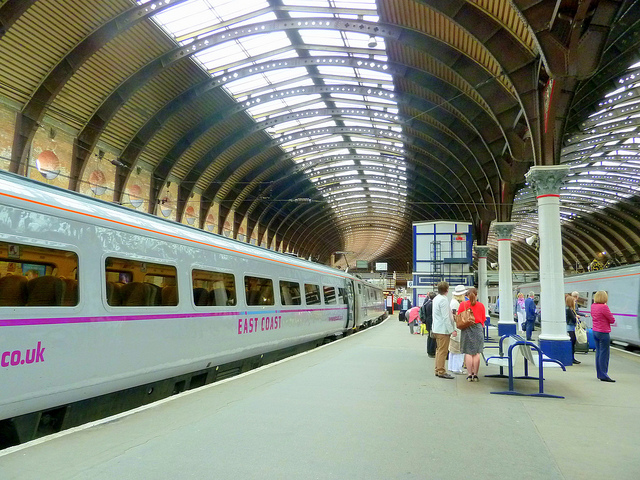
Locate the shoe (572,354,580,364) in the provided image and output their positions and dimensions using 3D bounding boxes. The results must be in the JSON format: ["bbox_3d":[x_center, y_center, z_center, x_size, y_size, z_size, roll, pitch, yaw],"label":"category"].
[{"bbox_3d":[8.198,3.764,12.797,0.156,0.140,0.333,-3,-7,36],"label":"shoe"}]

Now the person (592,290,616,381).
[{"bbox_3d":[7.030,2.304,9.905,0.429,2.156,0.870,-2,-7,34],"label":"person"}]

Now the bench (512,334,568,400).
[{"bbox_3d":[5.167,2.805,9.657,1.085,1.022,2.828,-1,-7,23],"label":"bench"}]

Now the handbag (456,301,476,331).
[{"bbox_3d":[3.340,1.680,9.086,0.300,0.600,0.659,4,-10,-30],"label":"handbag"}]

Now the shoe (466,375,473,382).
[{"bbox_3d":[3.501,3.157,9.342,0.080,0.099,0.102,-1,-5,4],"label":"shoe"}]

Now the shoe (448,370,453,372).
[{"bbox_3d":[3.333,3.242,10.181,0.158,0.032,0.141,1,-8,1],"label":"shoe"}]

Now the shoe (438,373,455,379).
[{"bbox_3d":[3.044,3.184,9.626,0.348,0.118,0.114,-3,-7,17],"label":"shoe"}]
